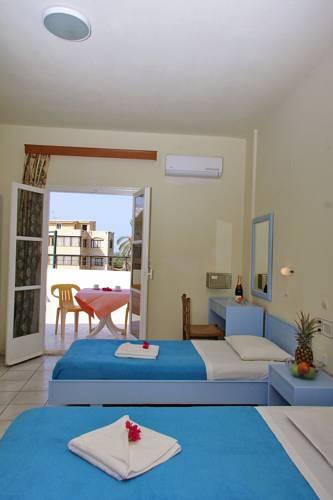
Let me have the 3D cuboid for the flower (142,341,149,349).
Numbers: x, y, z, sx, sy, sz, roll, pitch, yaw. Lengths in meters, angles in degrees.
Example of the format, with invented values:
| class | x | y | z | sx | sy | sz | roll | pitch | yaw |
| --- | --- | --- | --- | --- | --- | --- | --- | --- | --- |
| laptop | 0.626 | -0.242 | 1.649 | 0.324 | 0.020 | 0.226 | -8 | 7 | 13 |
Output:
| class | x | y | z | sx | sy | sz | roll | pitch | yaw |
| --- | --- | --- | --- | --- | --- | --- | --- | --- | --- |
| flower | -0.172 | 0.802 | 3.007 | 0.039 | 0.060 | 0.024 | 1 | -1 | 16 |

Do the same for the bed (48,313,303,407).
| class | x | y | z | sx | sy | sz | roll | pitch | yaw |
| --- | --- | --- | --- | --- | --- | --- | --- | --- | --- |
| bed | -0.045 | 0.956 | 2.828 | 1.369 | 0.513 | 0.843 | 2 | -2 | 0 |

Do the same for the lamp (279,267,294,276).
| class | x | y | z | sx | sy | sz | roll | pitch | yaw |
| --- | --- | --- | --- | --- | --- | --- | --- | --- | --- |
| lamp | 1.070 | 0.193 | 3.147 | 0.031 | 0.066 | 0.101 | 13 | -6 | -26 |

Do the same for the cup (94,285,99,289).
| class | x | y | z | sx | sy | sz | roll | pitch | yaw |
| --- | --- | --- | --- | --- | --- | --- | --- | --- | --- |
| cup | -1.113 | 0.581 | 5.623 | 0.073 | 0.062 | 0.060 | 0 | 0 | 8 |

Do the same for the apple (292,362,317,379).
| class | x | y | z | sx | sy | sz | roll | pitch | yaw |
| --- | --- | --- | --- | --- | --- | --- | --- | --- | --- |
| apple | 0.863 | 0.744 | 2.222 | 0.080 | 0.071 | 0.143 | 3 | -13 | 11 |

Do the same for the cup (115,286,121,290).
| class | x | y | z | sx | sy | sz | roll | pitch | yaw |
| --- | --- | --- | --- | --- | --- | --- | --- | --- | --- |
| cup | -0.764 | 0.598 | 5.564 | 0.055 | 0.061 | 0.076 | -4 | -11 | 29 |
